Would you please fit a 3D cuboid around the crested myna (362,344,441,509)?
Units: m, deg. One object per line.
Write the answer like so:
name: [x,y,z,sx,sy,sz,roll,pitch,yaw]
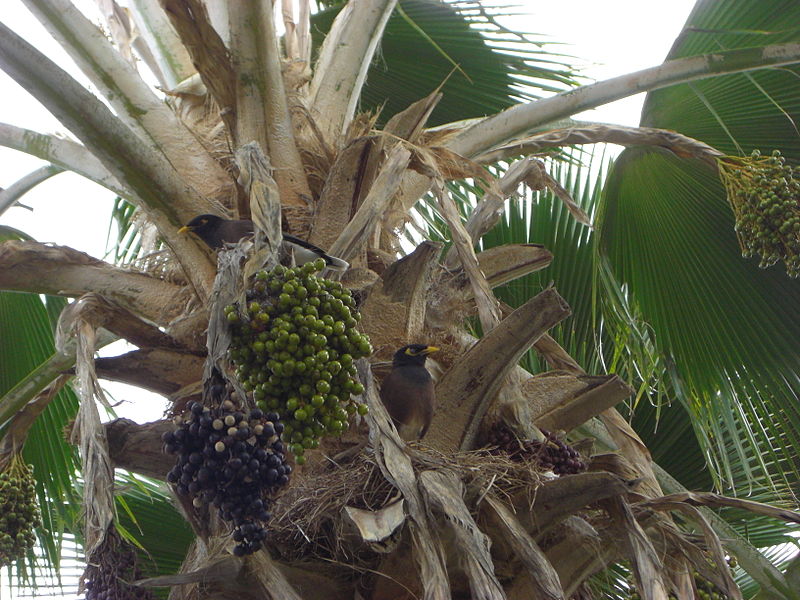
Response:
crested myna: [0.103,0.538,3.772,0.380,0.537,0.239,-37,-56,17]
